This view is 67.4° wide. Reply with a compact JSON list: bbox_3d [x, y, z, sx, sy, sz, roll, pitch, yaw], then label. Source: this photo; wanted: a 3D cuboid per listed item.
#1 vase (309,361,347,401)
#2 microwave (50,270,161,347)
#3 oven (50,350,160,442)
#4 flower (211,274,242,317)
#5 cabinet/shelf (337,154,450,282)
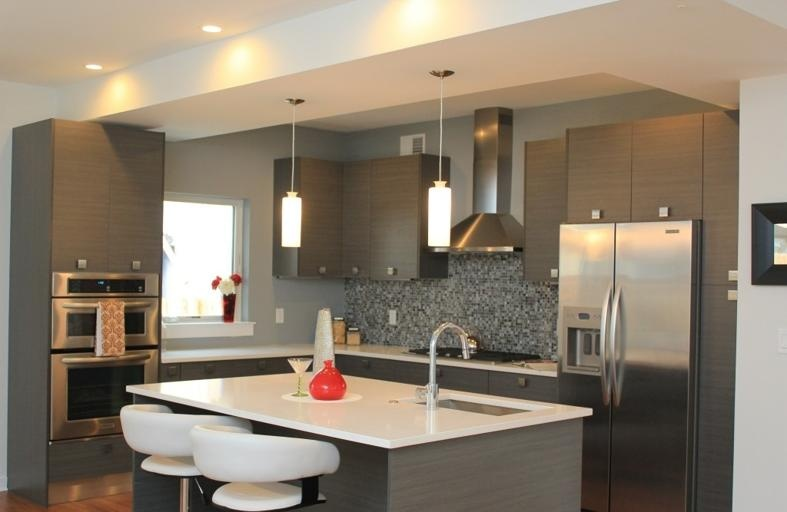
[{"bbox_3d":[-0.428,0.791,3.790,0.228,0.191,0.216,1,-5,-15],"label":"vase"},{"bbox_3d":[-2.587,0.440,5.371,1.194,0.781,0.626,2,-6,-32],"label":"microwave"},{"bbox_3d":[-2.835,1.238,5.406,0.608,0.718,1.118,-6,-10,27],"label":"oven"},{"bbox_3d":[-1.823,0.448,6.488,0.350,0.531,0.253,-1,0,-23],"label":"flower"},{"bbox_3d":[0.018,-0.396,6.206,1.524,1.548,0.593,-3,-5,41],"label":"cabinet/shelf"}]
